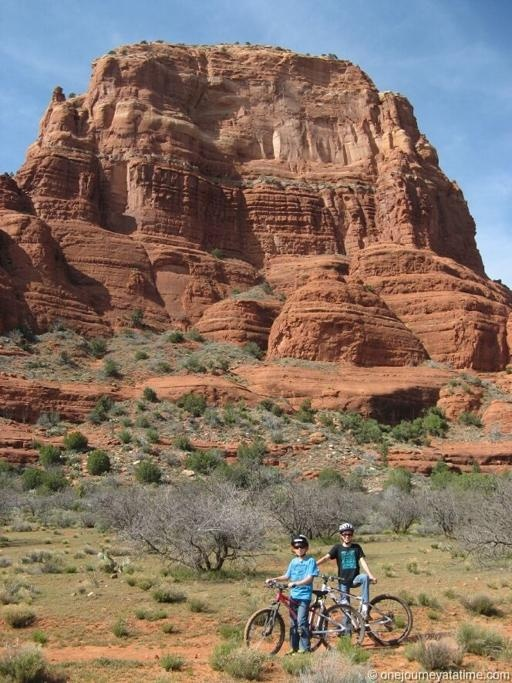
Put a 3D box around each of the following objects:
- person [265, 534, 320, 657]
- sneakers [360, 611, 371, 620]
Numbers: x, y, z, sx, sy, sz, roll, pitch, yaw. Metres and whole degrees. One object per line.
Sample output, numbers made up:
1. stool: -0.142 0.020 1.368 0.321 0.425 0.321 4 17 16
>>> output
1. person: 0.805 4.831 20.142 0.743 2.212 0.514 -3 -11 42
2. sneakers: 2.102 5.271 20.322 0.115 0.162 0.242 -2 -10 37
